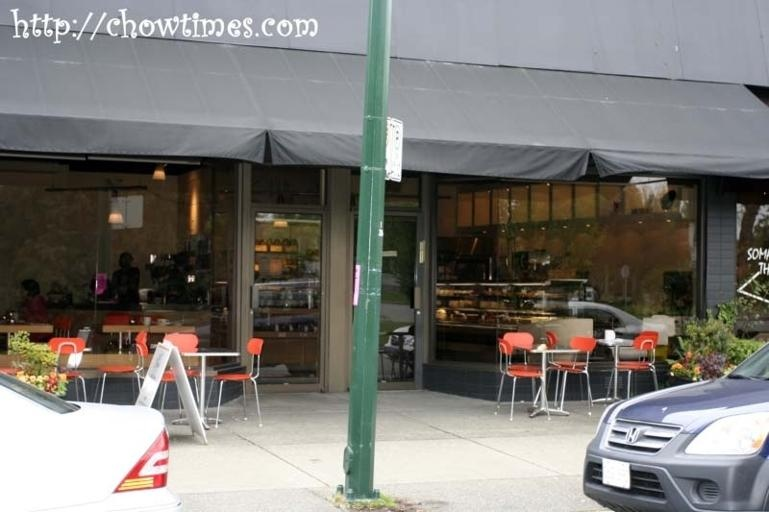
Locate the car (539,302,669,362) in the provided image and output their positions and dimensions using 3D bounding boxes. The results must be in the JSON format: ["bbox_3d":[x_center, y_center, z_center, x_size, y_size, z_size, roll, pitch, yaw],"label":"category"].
[{"bbox_3d":[3.995,1.331,15.520,2.198,0.799,0.982,0,0,-4],"label":"car"}]

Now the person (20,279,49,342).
[{"bbox_3d":[-6.328,1.129,15.441,0.471,1.423,0.510,2,4,-45],"label":"person"}]

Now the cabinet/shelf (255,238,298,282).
[{"bbox_3d":[-1.933,0.067,15.100,0.710,0.696,0.241,1,1,-15],"label":"cabinet/shelf"}]

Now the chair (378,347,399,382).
[{"bbox_3d":[0.083,2.009,15.786,0.532,0.707,0.399,-1,0,-3],"label":"chair"}]

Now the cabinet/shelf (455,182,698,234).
[{"bbox_3d":[3.641,-0.955,15.345,3.739,0.836,0.332,2,4,-1],"label":"cabinet/shelf"}]

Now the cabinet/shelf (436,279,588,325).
[{"bbox_3d":[2.265,0.812,15.439,2.621,0.904,0.618,2,4,5],"label":"cabinet/shelf"}]

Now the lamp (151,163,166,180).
[{"bbox_3d":[-3.954,-1.484,15.095,0.240,0.250,0.435,6,9,-2],"label":"lamp"}]
